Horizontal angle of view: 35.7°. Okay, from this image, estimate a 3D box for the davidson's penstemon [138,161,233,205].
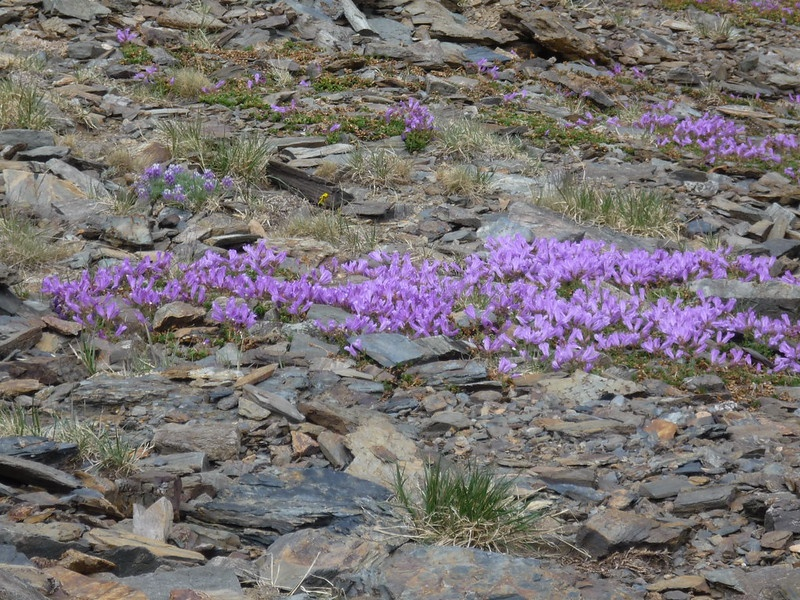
[{"bbox_3d":[-3.311,-1.775,19.007,1.140,0.352,0.801,-2,14,-28],"label":"davidson's penstemon"}]
